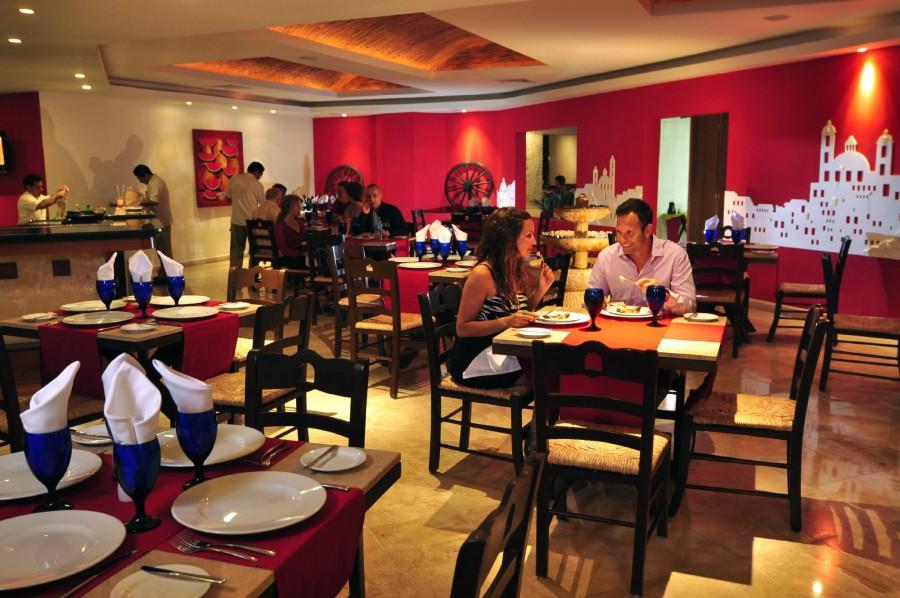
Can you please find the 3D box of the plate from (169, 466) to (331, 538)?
[{"bbox_3d":[-0.678,0.690,2.273,0.501,0.090,0.268,-2,11,-4],"label":"plate"}]

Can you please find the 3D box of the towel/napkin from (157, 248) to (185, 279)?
[{"bbox_3d":[-1.819,-0.208,4.370,0.106,0.152,0.222,-7,13,-27],"label":"towel/napkin"}]

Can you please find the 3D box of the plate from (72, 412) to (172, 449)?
[{"bbox_3d":[-1.220,0.489,2.477,0.358,0.048,0.348,-2,9,-39],"label":"plate"}]

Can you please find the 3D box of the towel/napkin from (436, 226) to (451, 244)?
[{"bbox_3d":[-0.044,-0.631,6.481,0.101,0.145,0.255,1,11,11],"label":"towel/napkin"}]

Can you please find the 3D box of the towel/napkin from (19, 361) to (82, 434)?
[{"bbox_3d":[-1.356,0.341,2.279,0.214,0.206,0.157,-9,6,-39],"label":"towel/napkin"}]

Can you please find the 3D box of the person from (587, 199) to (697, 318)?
[{"bbox_3d":[1.239,-0.109,4.488,0.747,1.027,0.645,2,8,20],"label":"person"}]

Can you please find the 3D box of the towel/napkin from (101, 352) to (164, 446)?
[{"bbox_3d":[-1.061,0.351,2.222,0.162,0.123,0.327,-1,28,-31],"label":"towel/napkin"}]

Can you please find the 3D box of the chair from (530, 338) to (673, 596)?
[{"bbox_3d":[0.780,0.756,3.500,0.716,1.242,0.850,3,12,17],"label":"chair"}]

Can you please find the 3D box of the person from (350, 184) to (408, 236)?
[{"bbox_3d":[-0.941,-1.110,8.330,0.868,0.626,0.670,3,12,19],"label":"person"}]

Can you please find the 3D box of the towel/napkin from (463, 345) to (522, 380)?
[{"bbox_3d":[0.250,0.398,4.081,0.269,0.110,0.206,-4,7,11],"label":"towel/napkin"}]

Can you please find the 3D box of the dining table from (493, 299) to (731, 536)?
[{"bbox_3d":[1.133,0.584,3.842,1.006,0.620,1.014,2,7,23],"label":"dining table"}]

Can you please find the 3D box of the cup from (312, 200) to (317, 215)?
[{"bbox_3d":[-2.372,-1.605,11.783,0.105,0.168,0.349,-3,11,-11],"label":"cup"}]

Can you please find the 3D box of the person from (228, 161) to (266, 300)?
[{"bbox_3d":[-3.173,-1.237,10.502,0.619,1.857,0.562,9,19,-1],"label":"person"}]

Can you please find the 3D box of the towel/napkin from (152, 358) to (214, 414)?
[{"bbox_3d":[-0.940,0.319,2.391,0.202,0.200,0.173,-6,9,-22],"label":"towel/napkin"}]

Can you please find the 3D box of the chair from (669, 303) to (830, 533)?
[{"bbox_3d":[1.679,0.593,4.318,1.168,1.591,1.048,4,10,25],"label":"chair"}]

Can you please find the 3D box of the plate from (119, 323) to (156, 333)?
[{"bbox_3d":[-1.841,0.174,3.953,0.196,0.023,0.117,0,11,4],"label":"plate"}]

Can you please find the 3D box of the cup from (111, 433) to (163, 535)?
[{"bbox_3d":[-1.039,0.604,2.234,0.127,0.316,0.167,-9,14,-35],"label":"cup"}]

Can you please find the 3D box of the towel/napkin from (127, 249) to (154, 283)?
[{"bbox_3d":[-1.920,-0.207,4.165,0.119,0.179,0.285,-7,13,-26],"label":"towel/napkin"}]

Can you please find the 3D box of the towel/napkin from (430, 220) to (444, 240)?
[{"bbox_3d":[-0.133,-0.668,6.466,0.128,0.165,0.167,0,4,4],"label":"towel/napkin"}]
